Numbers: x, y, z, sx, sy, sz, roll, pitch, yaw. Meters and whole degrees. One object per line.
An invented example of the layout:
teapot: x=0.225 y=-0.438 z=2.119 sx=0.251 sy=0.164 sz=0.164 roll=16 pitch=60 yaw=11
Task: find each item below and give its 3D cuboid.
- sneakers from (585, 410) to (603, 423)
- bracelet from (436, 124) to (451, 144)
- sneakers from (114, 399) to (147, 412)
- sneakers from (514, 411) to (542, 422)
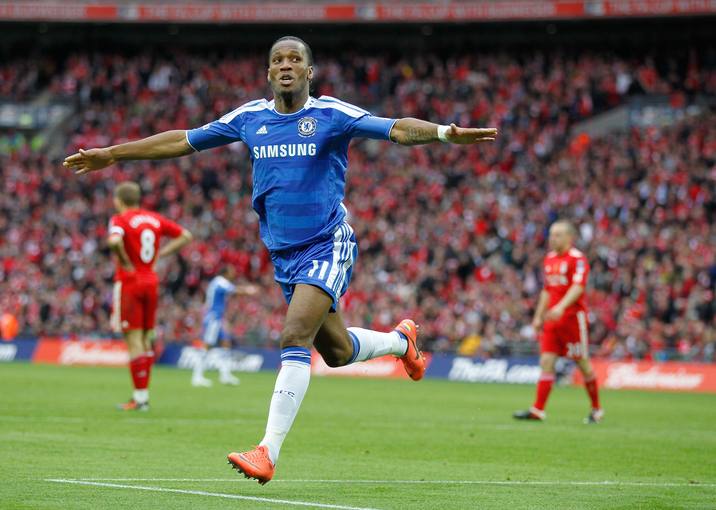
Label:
sneakers: x=4.001 y=2.753 z=18.126 sx=0.153 sy=0.145 sz=0.364 roll=20 pitch=-32 yaw=-16
bracelet: x=1.166 y=-1.615 z=14.244 sx=0.193 sy=0.185 sz=0.201 roll=1 pitch=-24 yaw=-21
sneakers: x=-3.473 y=2.333 z=16.512 sx=0.346 sy=0.157 sz=0.197 roll=4 pitch=-4 yaw=0
sneakers: x=2.916 y=2.736 z=18.259 sx=0.514 sy=0.166 sz=0.179 roll=3 pitch=7 yaw=10
